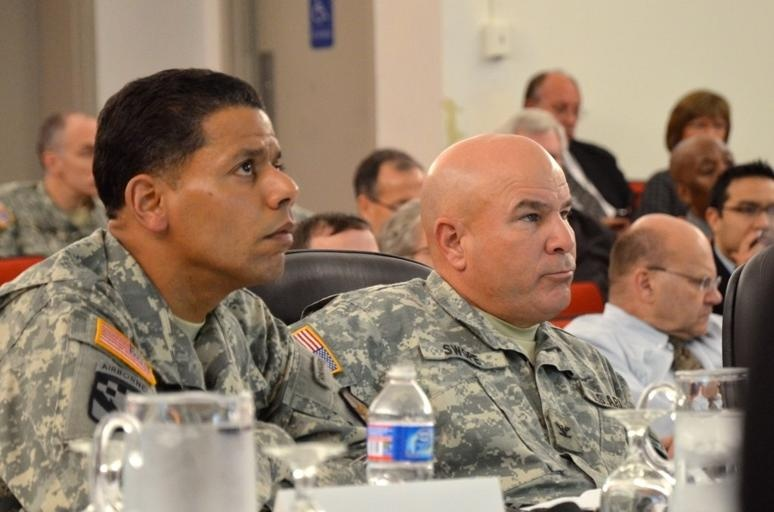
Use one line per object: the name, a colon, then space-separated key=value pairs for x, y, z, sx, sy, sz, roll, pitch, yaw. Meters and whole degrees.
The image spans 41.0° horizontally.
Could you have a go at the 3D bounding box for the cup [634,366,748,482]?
cup: x=0.517 y=0.306 z=1.874 sx=0.251 sy=0.267 sz=0.154 roll=-2 pitch=-2 yaw=14

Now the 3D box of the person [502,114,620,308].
person: x=0.753 y=-0.175 z=4.395 sx=0.538 sy=0.732 sz=0.233 roll=8 pitch=-6 yaw=-29

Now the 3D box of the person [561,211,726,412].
person: x=0.942 y=0.164 z=3.786 sx=0.563 sy=0.579 sz=0.901 roll=1 pitch=5 yaw=36
